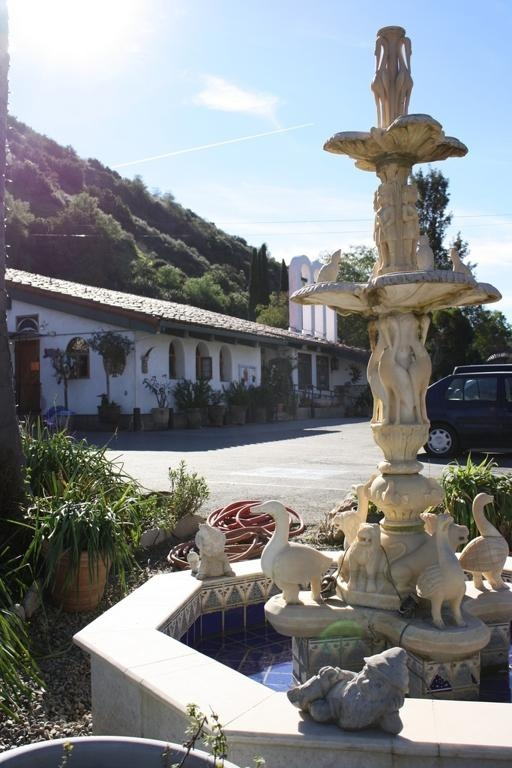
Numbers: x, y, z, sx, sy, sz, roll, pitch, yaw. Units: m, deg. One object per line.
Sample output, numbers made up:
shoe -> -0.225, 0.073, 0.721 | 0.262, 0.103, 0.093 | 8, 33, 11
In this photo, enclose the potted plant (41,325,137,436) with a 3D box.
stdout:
potted plant -> -4.285, -0.150, 18.517 | 2.576, 3.008, 1.438 | 0, 2, 18
